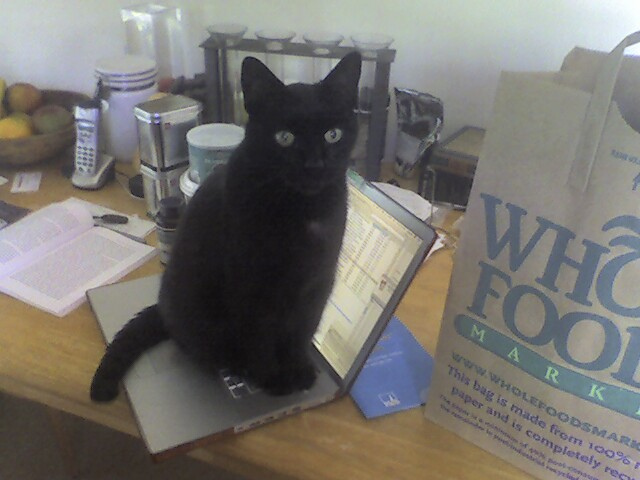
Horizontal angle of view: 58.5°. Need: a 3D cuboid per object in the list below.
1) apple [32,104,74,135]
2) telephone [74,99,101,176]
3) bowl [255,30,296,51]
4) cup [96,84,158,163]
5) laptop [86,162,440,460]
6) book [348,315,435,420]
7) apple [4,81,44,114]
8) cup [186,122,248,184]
[{"bbox_3d":[-0.674,-0.303,1.441,0.088,0.056,0.069,-5,0,11],"label":"apple"},{"bbox_3d":[-0.558,-0.250,1.376,0.079,0.160,0.127,-8,31,-19],"label":"telephone"},{"bbox_3d":[-0.103,-0.456,1.304,0.085,0.026,0.113,2,29,-3],"label":"bowl"},{"bbox_3d":[-0.452,-0.280,1.340,0.113,0.192,0.117,9,40,-7],"label":"cup"},{"bbox_3d":[-0.119,0.061,0.928,0.482,0.272,0.450,-14,31,-38],"label":"laptop"},{"bbox_3d":[0.112,0.212,0.932,0.153,0.018,0.144,-30,63,-25],"label":"book"},{"bbox_3d":[-0.779,-0.381,1.496,0.073,0.049,0.089,13,25,-9],"label":"apple"},{"bbox_3d":[-0.213,-0.154,1.144,0.109,0.085,0.106,7,16,-2],"label":"cup"}]
